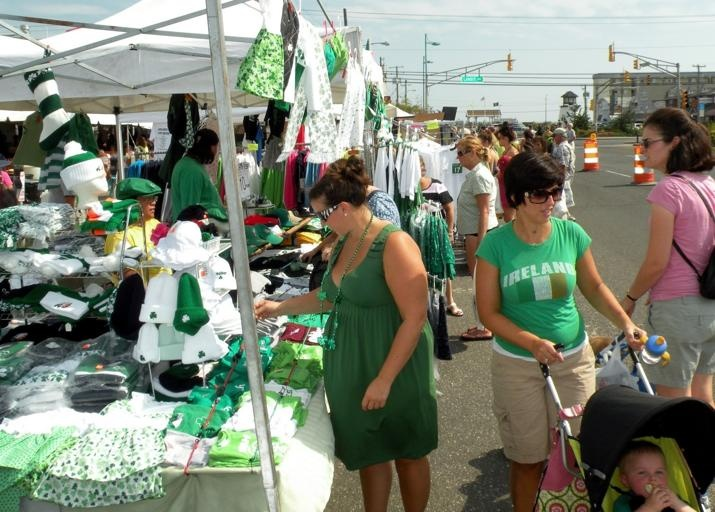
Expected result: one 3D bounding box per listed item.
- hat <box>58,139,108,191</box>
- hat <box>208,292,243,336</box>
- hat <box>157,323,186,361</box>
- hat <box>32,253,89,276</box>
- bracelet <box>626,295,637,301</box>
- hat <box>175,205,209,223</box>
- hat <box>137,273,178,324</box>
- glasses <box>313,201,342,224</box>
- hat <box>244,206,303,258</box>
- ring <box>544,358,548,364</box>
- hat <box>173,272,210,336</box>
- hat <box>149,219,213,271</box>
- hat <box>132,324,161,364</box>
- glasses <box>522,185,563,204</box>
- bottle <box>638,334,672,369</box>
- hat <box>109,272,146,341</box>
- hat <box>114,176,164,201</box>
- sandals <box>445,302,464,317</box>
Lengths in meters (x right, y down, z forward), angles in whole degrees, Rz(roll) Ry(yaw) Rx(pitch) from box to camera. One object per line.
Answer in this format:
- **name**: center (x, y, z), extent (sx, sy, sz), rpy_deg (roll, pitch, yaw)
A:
- **hat**: center (-1.964, -0.652, 3.533), extent (0.341, 0.405, 0.276), rpy_deg (-3, 8, 18)
- **hat**: center (-0.854, 0.397, 3.281), extent (0.225, 0.334, 0.133), rpy_deg (-14, -2, -6)
- **hat**: center (-1.163, 0.542, 3.117), extent (0.193, 0.221, 0.156), rpy_deg (1, 4, 2)
- **hat**: center (-1.974, 0.058, 3.292), extent (0.185, 0.079, 0.201), rpy_deg (4, 8, 2)
- **bracelet**: center (1.775, 0.273, 3.247), extent (0.045, 0.015, 0.048), rpy_deg (37, 5, 17)
- **hat**: center (-1.107, -0.301, 3.389), extent (0.153, 0.132, 0.116), rpy_deg (-3, 9, -26)
- **hat**: center (-1.215, 0.268, 3.031), extent (0.197, 0.327, 0.097), rpy_deg (5, -3, -3)
- **glasses**: center (-0.164, -0.249, 2.882), extent (0.106, 0.037, 0.105), rpy_deg (-30, -3, -12)
- **hat**: center (-0.978, -0.224, 5.688), extent (0.467, 0.320, 0.635), rpy_deg (-17, 12, 15)
- **ring**: center (0.993, 0.561, 2.639), extent (0.014, 0.013, 0.015), rpy_deg (-7, -5, -1)
- **hat**: center (-1.028, 0.289, 3.064), extent (0.218, 0.376, 0.104), rpy_deg (-4, 1, -12)
- **hat**: center (-1.095, -0.059, 3.111), extent (0.242, 0.152, 0.339), rpy_deg (1, 30, -1)
- **hat**: center (-1.302, 0.549, 3.101), extent (0.155, 0.248, 0.062), rpy_deg (1, 1, -4)
- **glasses**: center (1.067, -0.356, 2.808), extent (0.267, 0.095, 0.090), rpy_deg (-10, 16, -24)
- **bottle**: center (1.669, 0.535, 2.812), extent (0.101, 0.169, 0.169), rpy_deg (-17, -30, -9)
- **hat**: center (-1.576, 0.347, 3.572), extent (0.296, 0.463, 0.155), rpy_deg (8, 4, 23)
- **hat**: center (-1.757, -0.526, 3.928), extent (0.252, 0.141, 0.208), rpy_deg (2, 5, 44)
- **sandals**: center (1.332, 0.741, 6.849), extent (0.120, 0.121, 0.264), rpy_deg (-3, 1, -20)
